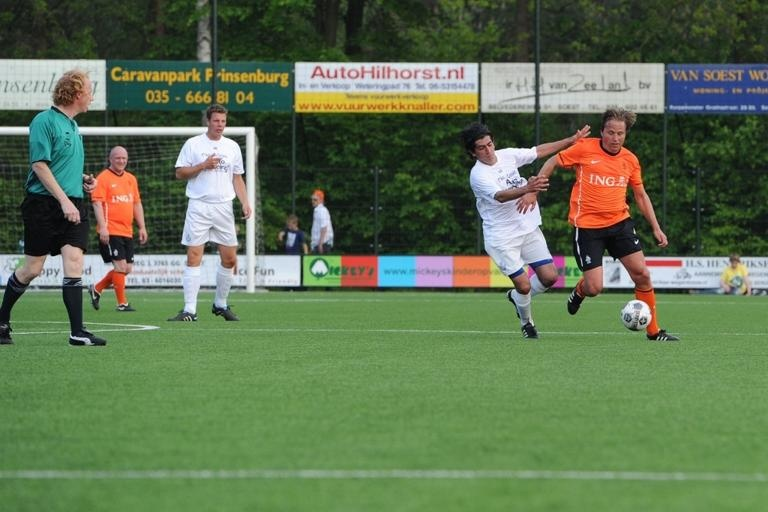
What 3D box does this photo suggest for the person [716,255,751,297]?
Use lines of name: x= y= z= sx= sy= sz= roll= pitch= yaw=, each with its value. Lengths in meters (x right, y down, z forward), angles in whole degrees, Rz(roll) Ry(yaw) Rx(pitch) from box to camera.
person: x=7.592 y=0.433 z=28.534 sx=0.921 sy=1.178 sz=0.755 roll=-3 pitch=-2 yaw=25

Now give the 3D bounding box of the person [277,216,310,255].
person: x=-1.963 y=-0.150 z=29.046 sx=0.646 sy=1.406 sz=0.438 roll=3 pitch=-2 yaw=9

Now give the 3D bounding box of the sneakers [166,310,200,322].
sneakers: x=-3.188 y=0.969 z=21.058 sx=0.507 sy=0.201 sz=0.168 roll=1 pitch=-4 yaw=-11

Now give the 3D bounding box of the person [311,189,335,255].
person: x=-1.345 y=-0.773 z=29.124 sx=0.473 sy=1.354 sz=0.892 roll=0 pitch=10 yaw=-1

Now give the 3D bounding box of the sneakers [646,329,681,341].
sneakers: x=4.131 y=1.185 z=19.691 sx=0.525 sy=0.194 sz=0.175 roll=-1 pitch=-1 yaw=-1

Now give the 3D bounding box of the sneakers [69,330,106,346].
sneakers: x=-4.202 y=1.193 z=18.880 sx=0.535 sy=0.229 sz=0.206 roll=-1 pitch=-3 yaw=4

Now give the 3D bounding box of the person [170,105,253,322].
person: x=-2.723 y=-0.636 z=20.920 sx=1.148 sy=3.446 sz=0.519 roll=-1 pitch=10 yaw=-9

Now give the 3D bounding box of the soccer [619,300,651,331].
soccer: x=3.801 y=0.900 z=19.911 sx=0.416 sy=0.478 sz=0.429 roll=10 pitch=-12 yaw=13
